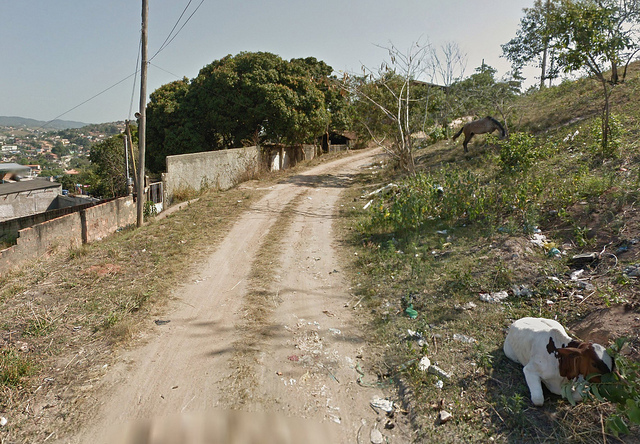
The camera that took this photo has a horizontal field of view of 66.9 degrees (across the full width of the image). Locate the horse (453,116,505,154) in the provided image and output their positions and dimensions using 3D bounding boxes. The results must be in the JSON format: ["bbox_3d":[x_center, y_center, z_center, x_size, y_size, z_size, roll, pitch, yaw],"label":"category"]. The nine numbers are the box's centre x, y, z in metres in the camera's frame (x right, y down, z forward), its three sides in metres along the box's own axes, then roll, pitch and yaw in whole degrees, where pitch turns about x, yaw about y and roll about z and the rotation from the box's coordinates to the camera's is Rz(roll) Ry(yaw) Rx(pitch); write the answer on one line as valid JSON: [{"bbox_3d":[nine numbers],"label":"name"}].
[{"bbox_3d":[6.694,-3.825,20.369,2.356,1.408,0.558,-14,24,49],"label":"horse"}]

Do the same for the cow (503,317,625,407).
[{"bbox_3d":[4.569,2.689,9.519,1.113,0.808,1.723,-4,13,-19],"label":"cow"}]
